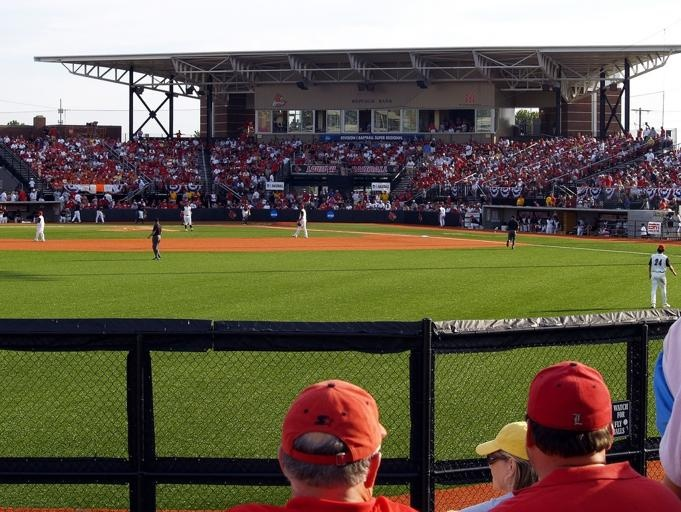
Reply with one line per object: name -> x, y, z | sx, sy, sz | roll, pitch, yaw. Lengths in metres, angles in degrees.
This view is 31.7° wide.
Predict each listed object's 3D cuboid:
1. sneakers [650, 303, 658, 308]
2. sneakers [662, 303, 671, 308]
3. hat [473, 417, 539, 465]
sneakers -> 8.244, 1.295, 31.613 | 0.096, 0.132, 0.303 | 1, 5, 12
sneakers -> 8.664, 1.306, 31.890 | 0.109, 0.137, 0.333 | 1, 1, 27
hat -> 2.288, 2.602, 17.024 | 0.720, 0.406, 0.492 | 3, -8, 13
